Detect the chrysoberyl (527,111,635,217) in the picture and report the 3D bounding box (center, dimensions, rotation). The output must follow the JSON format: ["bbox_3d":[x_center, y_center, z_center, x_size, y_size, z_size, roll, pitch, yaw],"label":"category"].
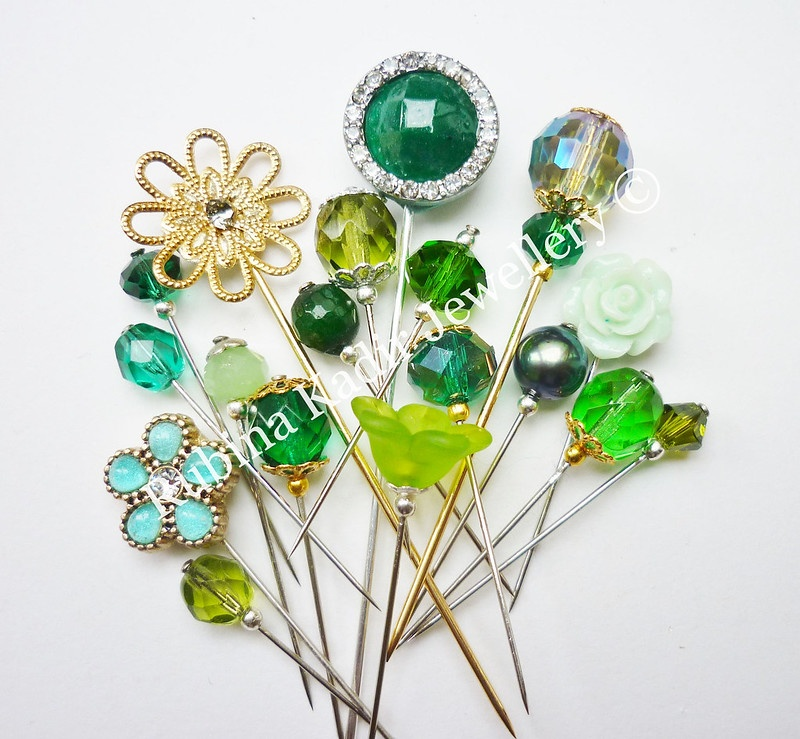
[{"bbox_3d":[0.403,-0.466,2.521,0.202,0.238,0.262,25,-104,12],"label":"chrysoberyl"}]

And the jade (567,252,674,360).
[{"bbox_3d":[0.504,-0.146,2.423,0.210,0.099,0.246,22,-84,11],"label":"jade"}]

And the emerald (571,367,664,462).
[{"bbox_3d":[0.486,0.107,2.389,0.168,0.092,0.229,41,-88,15],"label":"emerald"}]
